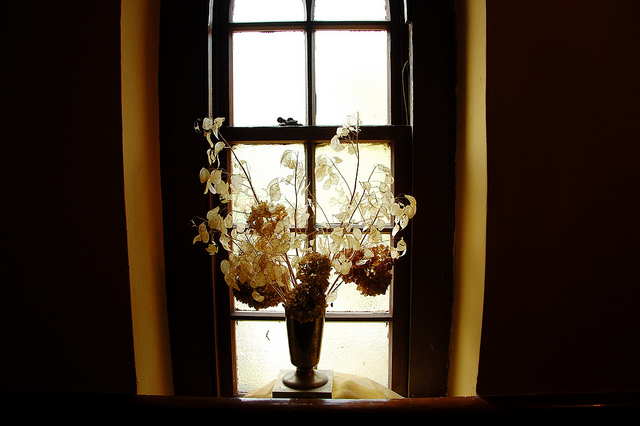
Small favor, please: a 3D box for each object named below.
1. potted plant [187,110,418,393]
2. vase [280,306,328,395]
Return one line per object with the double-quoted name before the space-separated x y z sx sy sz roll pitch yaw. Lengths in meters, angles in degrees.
"potted plant" -0.074 0.134 2.660 0.954 1.138 0.578 7 -17 -13
"vase" -0.059 0.548 2.646 0.162 0.305 0.169 -5 9 -33
